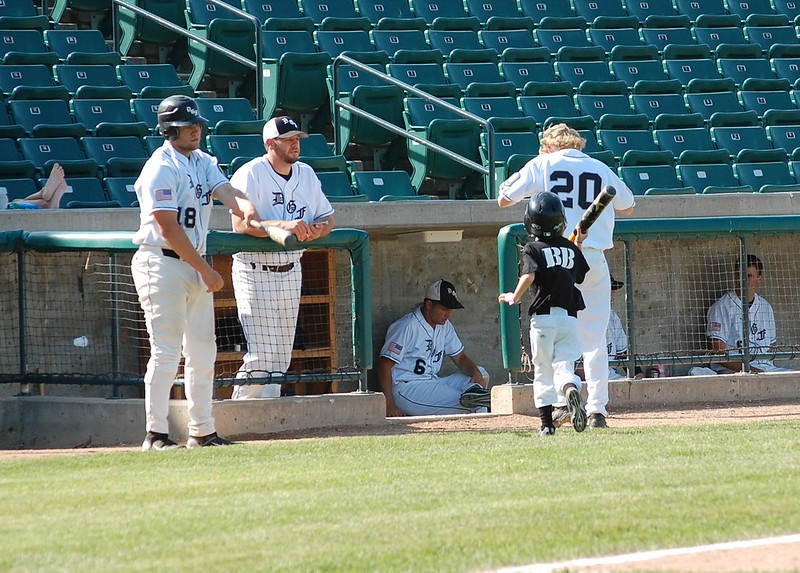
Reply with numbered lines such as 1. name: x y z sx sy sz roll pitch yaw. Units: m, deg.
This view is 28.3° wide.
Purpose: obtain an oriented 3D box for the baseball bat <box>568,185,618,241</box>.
1. baseball bat: 1.532 -0.583 12.874 0.097 0.091 0.648 15 -42 -21

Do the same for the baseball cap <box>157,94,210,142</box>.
1. baseball cap: -1.719 -1.317 12.461 0.400 0.301 0.367 -11 19 -17

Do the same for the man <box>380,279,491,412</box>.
1. man: 0.385 0.756 15.282 1.275 1.463 0.868 3 3 3

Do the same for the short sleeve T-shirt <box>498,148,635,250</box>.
1. short sleeve T-shirt: 1.347 -0.663 13.147 1.325 0.810 0.454 3 0 -18

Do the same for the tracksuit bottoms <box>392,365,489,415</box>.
1. tracksuit bottoms: 0.296 1.052 15.198 0.750 0.221 0.627 6 18 -48

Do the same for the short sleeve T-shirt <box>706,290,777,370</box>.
1. short sleeve T-shirt: 3.196 0.438 14.936 0.804 0.706 0.449 2 -5 -34

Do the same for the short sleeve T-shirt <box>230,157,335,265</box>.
1. short sleeve T-shirt: -1.006 -0.576 13.153 0.969 0.733 0.348 11 8 -28

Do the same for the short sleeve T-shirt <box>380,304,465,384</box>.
1. short sleeve T-shirt: 0.181 0.604 15.468 0.516 0.778 1.088 19 11 38

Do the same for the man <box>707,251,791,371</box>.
1. man: 3.239 0.255 15.062 0.677 1.145 1.366 -2 -6 11

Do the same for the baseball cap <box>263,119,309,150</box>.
1. baseball cap: -0.962 -1.238 13.042 0.315 0.143 0.211 -10 10 18

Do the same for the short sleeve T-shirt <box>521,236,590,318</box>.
1. short sleeve T-shirt: 1.233 -0.078 12.563 0.748 0.611 0.406 -1 0 -2

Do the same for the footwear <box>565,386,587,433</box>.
1. footwear: 1.355 0.944 12.406 0.146 0.347 0.168 -17 5 2

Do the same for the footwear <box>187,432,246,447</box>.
1. footwear: -1.466 1.187 12.585 0.434 0.148 0.137 -1 2 -11

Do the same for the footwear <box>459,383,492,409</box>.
1. footwear: 0.706 1.021 14.787 0.191 0.221 0.438 5 -8 -39

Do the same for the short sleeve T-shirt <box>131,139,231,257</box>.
1. short sleeve T-shirt: -1.805 -0.664 12.537 0.555 0.803 0.856 2 2 34

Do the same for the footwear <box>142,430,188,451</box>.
1. footwear: -1.846 1.211 12.424 0.425 0.158 0.137 -3 -4 18

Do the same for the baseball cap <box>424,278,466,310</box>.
1. baseball cap: 0.416 0.086 15.202 0.352 0.172 0.236 25 20 26

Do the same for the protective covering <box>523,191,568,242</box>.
1. protective covering: 1.160 -0.585 12.694 0.358 0.339 0.447 -1 29 8

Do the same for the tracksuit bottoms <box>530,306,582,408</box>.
1. tracksuit bottoms: 1.251 0.566 12.536 0.494 0.800 0.390 -7 -11 39
